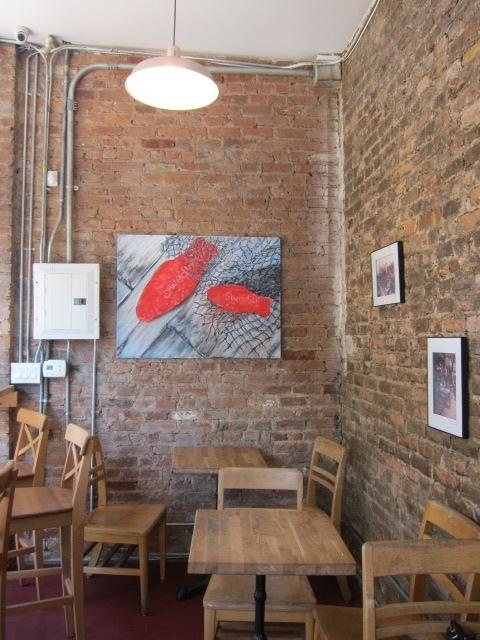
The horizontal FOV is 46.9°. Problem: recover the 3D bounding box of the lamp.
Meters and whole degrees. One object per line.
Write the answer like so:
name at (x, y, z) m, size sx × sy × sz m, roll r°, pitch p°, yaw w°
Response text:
lamp at (-0.270, -0.958, 2.288) m, size 0.394 × 0.602 × 0.361 m, roll -1°, pitch -2°, yaw -1°
